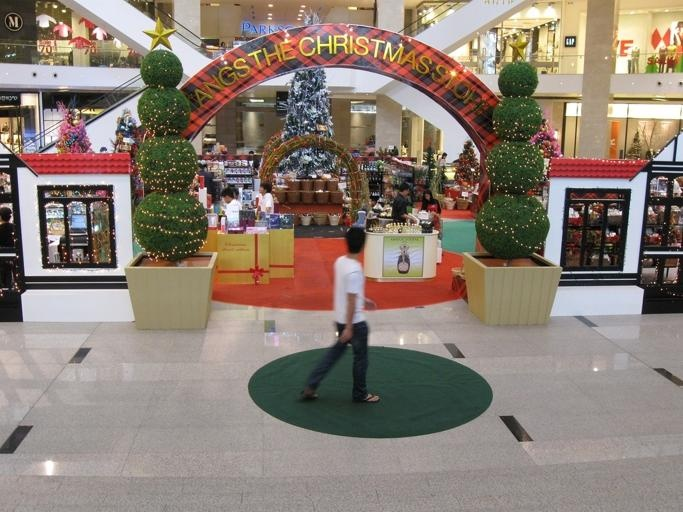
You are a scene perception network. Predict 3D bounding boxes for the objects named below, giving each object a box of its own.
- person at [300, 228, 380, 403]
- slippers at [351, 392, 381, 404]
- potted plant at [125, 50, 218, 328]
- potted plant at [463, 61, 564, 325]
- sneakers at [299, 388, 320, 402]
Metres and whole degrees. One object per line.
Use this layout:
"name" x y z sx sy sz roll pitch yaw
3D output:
"person" 0.001 0.730 6.290 1.199 2.320 0.734 -12 30 -22
"slippers" 0.262 1.362 5.056 0.249 0.115 0.101 -3 7 -7
"potted plant" -2.315 -0.913 6.919 1.110 3.604 1.226 -2 12 -15
"potted plant" 2.585 -0.948 7.523 1.464 3.634 1.492 8 10 42
"sneakers" -0.302 1.323 5.034 0.096 0.135 0.191 7 11 32
